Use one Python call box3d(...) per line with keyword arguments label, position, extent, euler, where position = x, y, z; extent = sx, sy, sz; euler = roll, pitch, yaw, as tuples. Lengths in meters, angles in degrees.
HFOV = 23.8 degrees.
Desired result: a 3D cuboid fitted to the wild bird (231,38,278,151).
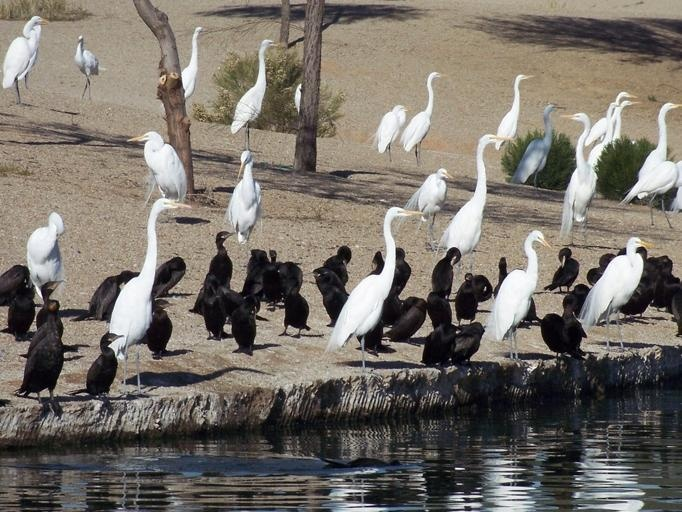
box3d(label="wild bird", position=(-2.295, -3.999, 41.315), extent=(1.268, 3.479, 1.090), euler=(7, 16, 31))
